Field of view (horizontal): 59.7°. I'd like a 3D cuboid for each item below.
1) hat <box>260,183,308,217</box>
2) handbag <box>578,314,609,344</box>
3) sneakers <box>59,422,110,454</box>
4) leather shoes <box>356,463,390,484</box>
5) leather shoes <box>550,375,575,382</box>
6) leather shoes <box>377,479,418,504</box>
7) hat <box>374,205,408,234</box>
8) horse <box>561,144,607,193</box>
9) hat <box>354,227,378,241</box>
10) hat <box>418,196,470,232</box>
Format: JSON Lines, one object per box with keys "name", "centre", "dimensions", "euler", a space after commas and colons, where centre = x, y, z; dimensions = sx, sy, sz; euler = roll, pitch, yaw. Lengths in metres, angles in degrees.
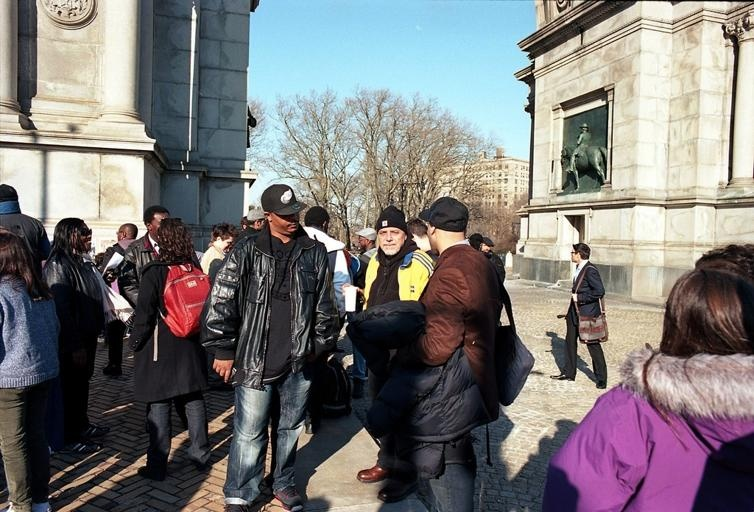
{"name": "hat", "centre": [-0.970, -0.554, 6.791], "dimensions": [0.442, 0.330, 0.328], "euler": [0, 12, -11]}
{"name": "handbag", "centre": [3.371, 1.151, 10.253], "dimensions": [0.526, 0.565, 0.282], "euler": [0, -10, 4]}
{"name": "sneakers", "centre": [-3.456, 2.179, 7.738], "dimensions": [0.554, 0.250, 0.191], "euler": [0, 4, -15]}
{"name": "leather shoes", "centre": [-0.050, 2.406, 7.287], "dimensions": [0.342, 0.151, 0.154], "euler": [10, 1, -26]}
{"name": "leather shoes", "centre": [3.005, 1.995, 10.613], "dimensions": [0.365, 0.158, 0.136], "euler": [9, -7, 17]}
{"name": "leather shoes", "centre": [0.210, 2.524, 7.071], "dimensions": [0.389, 0.171, 0.181], "euler": [9, -14, -39]}
{"name": "hat", "centre": [0.179, -0.423, 7.873], "dimensions": [0.299, 0.316, 0.321], "euler": [2, -3, 7]}
{"name": "horse", "centre": [7.242, -3.099, 22.816], "dimensions": [0.490, 1.451, 2.021], "euler": [-5, 3, -32]}
{"name": "hat", "centre": [-0.162, -0.310, 10.359], "dimensions": [0.258, 0.141, 0.188], "euler": [26, 8, 2]}
{"name": "hat", "centre": [0.658, -0.405, 6.513], "dimensions": [0.286, 0.211, 0.386], "euler": [-2, 21, -30]}
